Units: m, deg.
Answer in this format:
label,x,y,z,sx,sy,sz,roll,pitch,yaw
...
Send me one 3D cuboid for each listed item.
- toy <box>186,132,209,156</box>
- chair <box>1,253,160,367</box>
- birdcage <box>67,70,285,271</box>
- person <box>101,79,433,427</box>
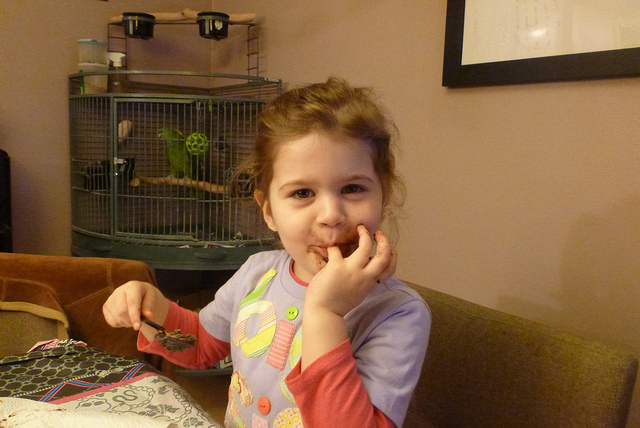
label,x,y,z,sx,sy,sz,roll,pitch,yaw
toy,-0.547,-0.308,2.306,0.098,0.095,0.097,3,-12,-21
chair,-0.722,0.221,1.654,0.389,0.466,0.400,0,0,-27
birdcage,-0.677,-0.215,2.695,1.085,1.070,0.658,-8,-10,21
person,-0.100,0.114,1.285,0.750,0.889,0.359,4,6,22
